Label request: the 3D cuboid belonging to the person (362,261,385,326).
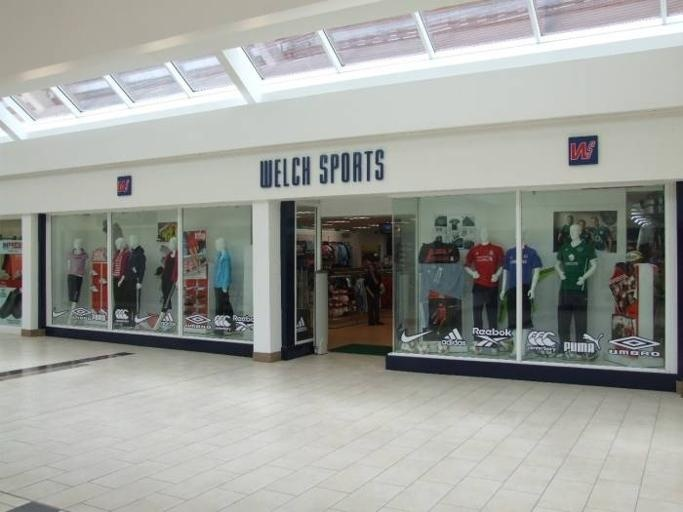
[{"bbox_3d":[0.938,1.107,13.834,0.459,1.865,0.890,-1,-1,4],"label":"person"}]
